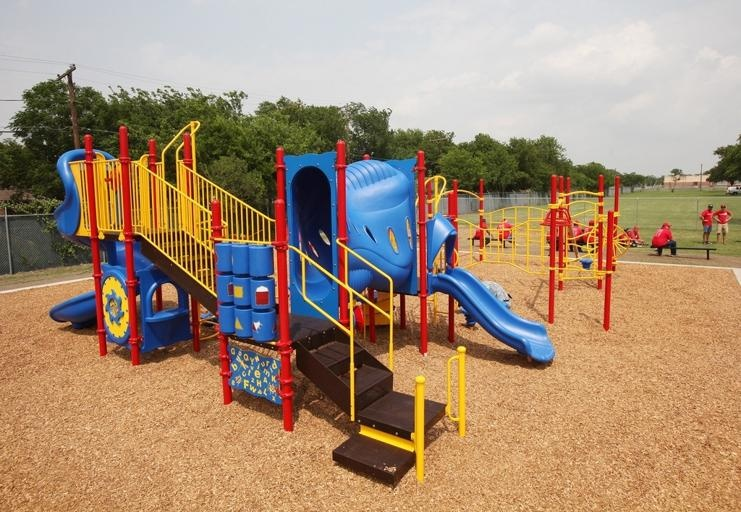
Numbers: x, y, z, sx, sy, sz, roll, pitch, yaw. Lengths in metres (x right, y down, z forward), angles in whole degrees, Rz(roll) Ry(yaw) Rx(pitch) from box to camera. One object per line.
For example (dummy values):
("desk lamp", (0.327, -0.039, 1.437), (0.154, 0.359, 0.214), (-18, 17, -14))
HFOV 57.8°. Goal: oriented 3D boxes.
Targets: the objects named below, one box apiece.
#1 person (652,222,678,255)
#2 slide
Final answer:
("person", (11.166, -0.602, 25.624), (0.888, 1.263, 0.838), (6, -1, -26))
("slide", (2.619, 1.210, 15.156), (0.824, 0.753, 3.522), (-16, 40, -40))
